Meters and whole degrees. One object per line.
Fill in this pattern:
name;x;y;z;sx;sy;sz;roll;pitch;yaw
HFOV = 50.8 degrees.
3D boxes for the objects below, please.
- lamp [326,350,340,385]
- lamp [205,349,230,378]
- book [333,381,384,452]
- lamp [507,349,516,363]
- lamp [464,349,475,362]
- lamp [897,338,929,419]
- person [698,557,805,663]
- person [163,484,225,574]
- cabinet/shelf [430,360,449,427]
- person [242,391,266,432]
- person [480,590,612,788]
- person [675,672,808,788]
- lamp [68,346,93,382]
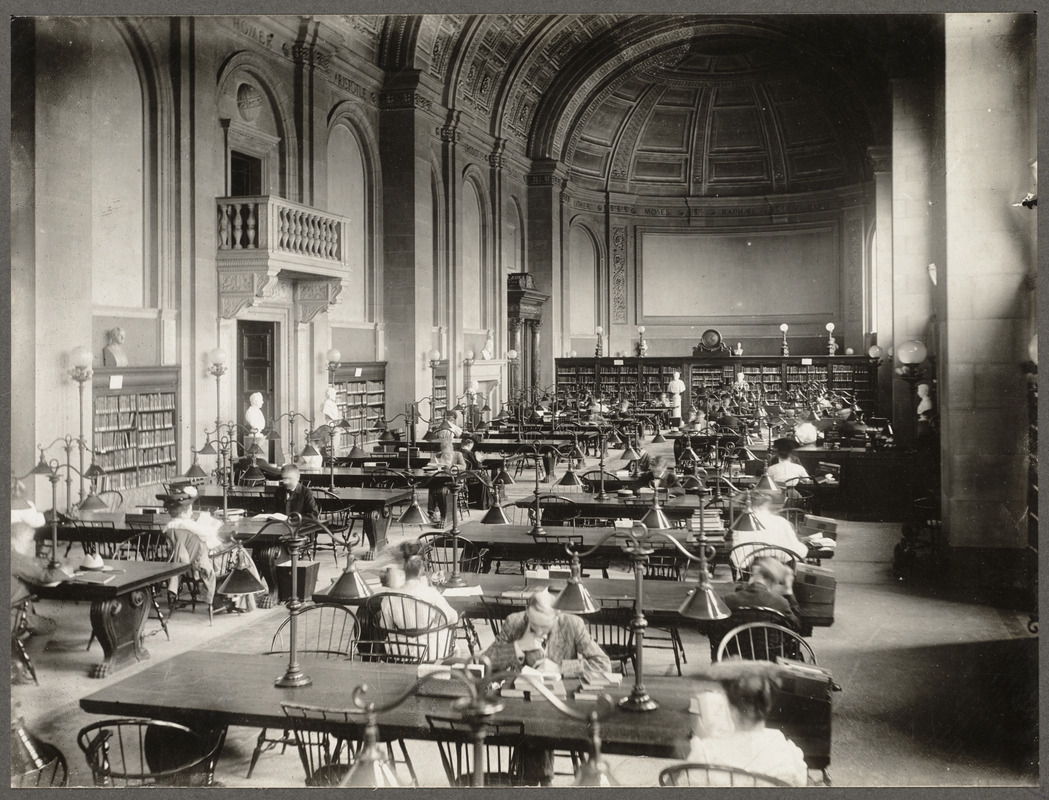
lamp;-3.495;-0.578;20.347;0.244;0.622;1.065;0;1;-10
lamp;-4.741;-0.554;17.044;0.327;0.446;0.640;-1;1;-17
book;-3.195;0.335;21.112;0.162;0.949;1.324;-1;-1;16
lamp;-0.312;-1.133;28.582;0.208;0.215;0.214;-3;-6;41
lamp;-1.276;-1.016;25.798;0.221;0.223;0.227;-2;8;-21
lamp;5.805;-0.299;16.429;0.444;1.166;1.908;0;1;20
person;2.046;1.794;9.494;0.750;1.253;0.913;1;1;8
person;-3.504;1.358;11.748;0.659;0.978;0.579;2;17;19
cabinet/shelf;-1.839;-0.127;23.824;0.381;1.368;1.354;0;-2;10
person;-4.288;0.205;17.493;0.268;0.812;0.420;-3;18;-16
person;0.170;2.186;8.174;1.184;1.830;0.958;4;-22;-1
person;1.522;2.266;7.599;0.768;0.797;0.418;0;15;5
lamp;-5.531;-0.419;13.814;0.253;0.456;0.507;-1;1;-25
